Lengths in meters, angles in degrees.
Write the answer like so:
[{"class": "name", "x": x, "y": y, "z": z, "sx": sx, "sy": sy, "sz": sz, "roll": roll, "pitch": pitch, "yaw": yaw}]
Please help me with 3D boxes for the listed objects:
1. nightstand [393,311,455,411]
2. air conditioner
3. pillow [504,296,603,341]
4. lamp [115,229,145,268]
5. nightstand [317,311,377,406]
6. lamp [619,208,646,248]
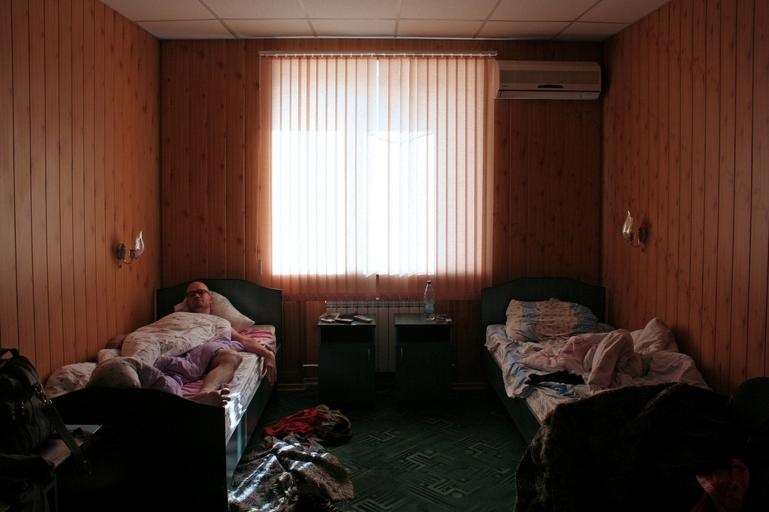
[{"class": "nightstand", "x": 0.356, "y": 0.837, "z": 5.391, "sx": 0.594, "sy": 0.747, "sz": 0.654, "roll": -4, "pitch": 21, "yaw": -9}, {"class": "air conditioner", "x": 1.574, "y": -1.744, "z": 5.498, "sx": 0.913, "sy": 0.364, "sz": 0.333, "roll": 6, "pitch": 41, "yaw": 18}, {"class": "pillow", "x": 1.464, "y": 0.568, "z": 5.178, "sx": 0.470, "sy": 0.160, "sz": 0.484, "roll": -2, "pitch": 14, "yaw": 5}, {"class": "lamp", "x": -2.177, "y": -0.078, "z": 4.974, "sx": 0.186, "sy": 0.284, "sz": 0.126, "roll": 2, "pitch": 1, "yaw": -33}, {"class": "nightstand", "x": -0.201, "y": 0.952, "z": 5.297, "sx": 0.588, "sy": 0.892, "sz": 0.610, "roll": 0, "pitch": -3, "yaw": -2}, {"class": "lamp", "x": 2.163, "y": -0.227, "z": 5.038, "sx": 0.152, "sy": 0.334, "sz": 0.138, "roll": 0, "pitch": 21, "yaw": 31}]
